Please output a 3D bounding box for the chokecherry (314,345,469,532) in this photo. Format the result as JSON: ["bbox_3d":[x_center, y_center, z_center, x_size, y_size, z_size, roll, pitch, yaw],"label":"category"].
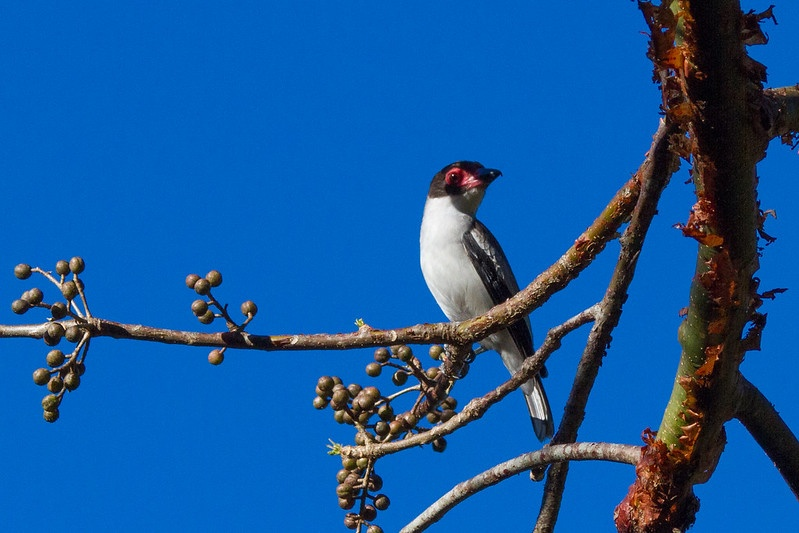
[{"bbox_3d":[-0.088,0.728,7.838,0.724,0.352,1.177,13,-85,10],"label":"chokecherry"}]

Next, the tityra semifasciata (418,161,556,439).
[{"bbox_3d":[0.443,0.271,9.186,0.301,1.700,0.872,-5,-18,-9],"label":"tityra semifasciata"}]
